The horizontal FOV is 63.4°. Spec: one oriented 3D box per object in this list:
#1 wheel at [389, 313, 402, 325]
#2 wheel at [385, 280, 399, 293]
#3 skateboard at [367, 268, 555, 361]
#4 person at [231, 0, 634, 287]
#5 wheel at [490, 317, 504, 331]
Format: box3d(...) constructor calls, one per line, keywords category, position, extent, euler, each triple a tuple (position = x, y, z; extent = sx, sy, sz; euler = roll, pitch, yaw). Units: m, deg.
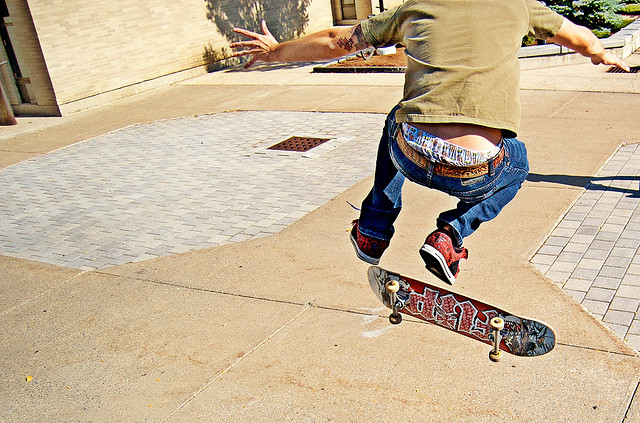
box3d(category="wheel", position=(0.647, 0.921, 4.427), extent=(0.110, 0.052, 0.086), euler=(-5, 36, 8))
box3d(category="wheel", position=(0.576, 0.596, 4.095), extent=(0.079, 0.113, 0.125), euler=(-5, 28, 1))
box3d(category="skateboard", position=(1.123, 0.859, 4.233), extent=(0.218, 1.774, 0.391), euler=(-35, 36, 65))
box3d(category="person", position=(0.774, -0.522, 4.107), extent=(1.809, 2.133, 1.141), euler=(6, 33, 18))
box3d(category="wheel", position=(1.321, 0.836, 3.864), extent=(0.134, 0.063, 0.104), euler=(-3, 35, 3))
